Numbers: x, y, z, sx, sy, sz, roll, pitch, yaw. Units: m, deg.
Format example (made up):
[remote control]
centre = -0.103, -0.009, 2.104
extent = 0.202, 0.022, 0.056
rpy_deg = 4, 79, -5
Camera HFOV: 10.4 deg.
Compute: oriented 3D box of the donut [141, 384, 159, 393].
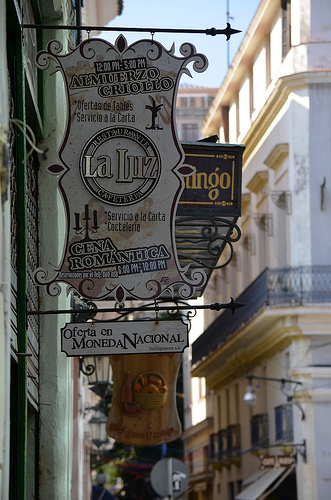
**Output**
[donut]
centre = -0.231, 1.988, 26.071
extent = 0.226, 0.103, 0.095
rpy_deg = -5, -19, 1
